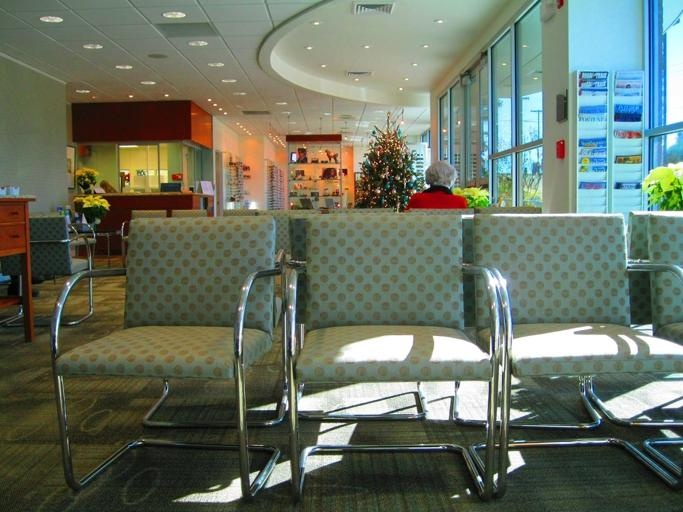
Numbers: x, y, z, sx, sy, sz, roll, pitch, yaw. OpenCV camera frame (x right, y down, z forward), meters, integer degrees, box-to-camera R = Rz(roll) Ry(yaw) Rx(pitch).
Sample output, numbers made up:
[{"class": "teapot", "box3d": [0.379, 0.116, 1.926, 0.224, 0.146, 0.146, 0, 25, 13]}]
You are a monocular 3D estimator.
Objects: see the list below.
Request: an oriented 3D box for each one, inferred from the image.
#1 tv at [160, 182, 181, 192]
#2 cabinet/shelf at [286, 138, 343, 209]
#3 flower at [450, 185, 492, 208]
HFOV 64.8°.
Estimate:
[{"class": "tv", "box3d": [-3.712, -1.498, 11.629, 0.447, 0.189, 0.338, -4, 12, -13]}, {"class": "cabinet/shelf", "box3d": [-0.793, -2.493, 15.678, 1.585, 2.000, 1.207, -2, 12, -4]}, {"class": "flower", "box3d": [1.933, -0.856, 8.039, 0.678, 0.441, 0.672, 3, 6, 23]}]
